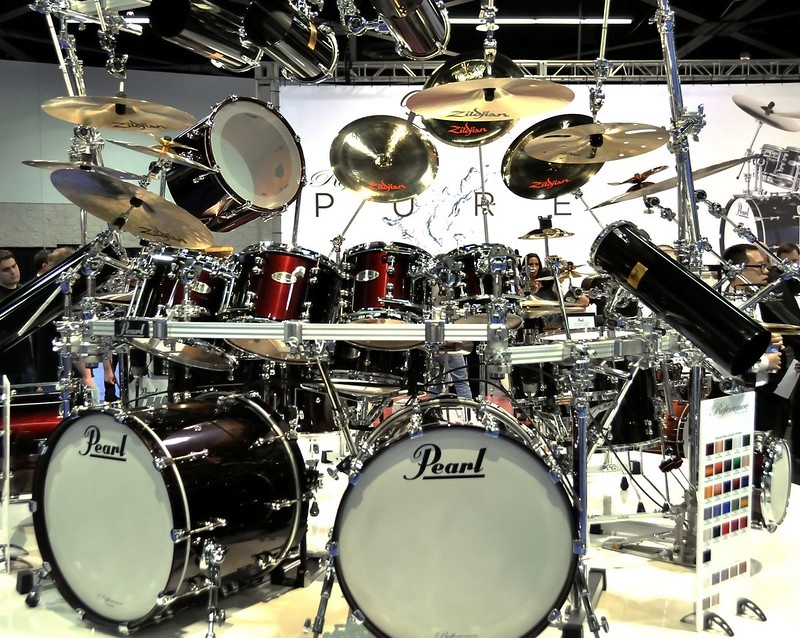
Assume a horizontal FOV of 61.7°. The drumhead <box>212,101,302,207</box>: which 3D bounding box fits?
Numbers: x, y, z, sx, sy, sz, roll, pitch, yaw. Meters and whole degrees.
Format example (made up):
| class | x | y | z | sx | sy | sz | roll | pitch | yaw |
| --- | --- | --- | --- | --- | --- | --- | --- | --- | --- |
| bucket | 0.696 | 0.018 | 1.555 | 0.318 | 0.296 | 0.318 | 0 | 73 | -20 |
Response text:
| class | x | y | z | sx | sy | sz | roll | pitch | yaw |
| --- | --- | --- | --- | --- | --- | --- | --- | --- | --- |
| drumhead | -0.995 | -1.168 | 4.707 | 0.391 | 0.712 | 0.664 | 2 | 49 | 20 |
